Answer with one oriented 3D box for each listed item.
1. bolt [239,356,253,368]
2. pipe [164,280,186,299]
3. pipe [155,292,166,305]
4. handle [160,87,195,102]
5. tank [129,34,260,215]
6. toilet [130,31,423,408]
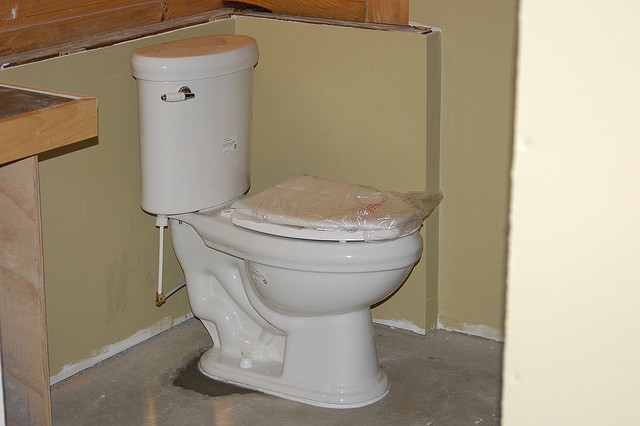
[{"bbox_3d":[-0.231,0.468,1.900,0.032,0.016,0.031,3,10,12],"label":"bolt"},{"bbox_3d":[-0.515,0.269,2.142,0.113,0.026,0.028,-33,13,29],"label":"pipe"},{"bbox_3d":[-0.521,0.280,1.985,0.045,0.040,0.025,-4,20,-30],"label":"pipe"},{"bbox_3d":[-0.401,-0.337,1.727,0.062,0.031,0.045,-9,15,-28],"label":"handle"},{"bbox_3d":[-0.384,-0.266,1.816,0.277,0.438,0.444,17,27,31],"label":"tank"},{"bbox_3d":[-0.073,0.034,1.896,0.956,0.985,0.560,8,14,30],"label":"toilet"}]
